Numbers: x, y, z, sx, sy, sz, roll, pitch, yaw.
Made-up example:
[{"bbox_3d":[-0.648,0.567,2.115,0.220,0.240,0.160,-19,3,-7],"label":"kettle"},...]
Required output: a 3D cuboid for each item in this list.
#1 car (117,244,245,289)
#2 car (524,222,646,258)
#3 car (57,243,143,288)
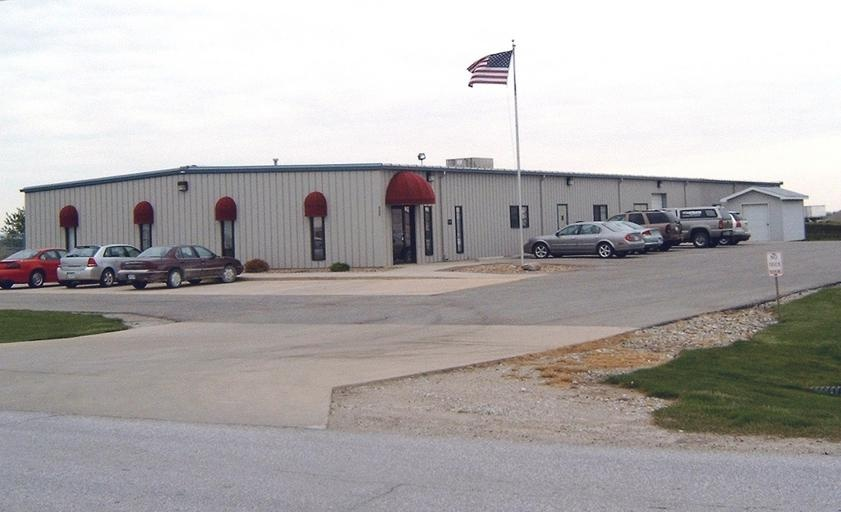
[{"bbox_3d":[-9.985,0.411,33.277,2.561,1.401,5.475,-3,0,26],"label":"car"},{"bbox_3d":[7.818,-0.865,38.781,5.639,1.501,2.232,0,7,32],"label":"car"},{"bbox_3d":[-13.606,0.242,34.798,2.121,1.406,4.540,3,7,19],"label":"car"}]
